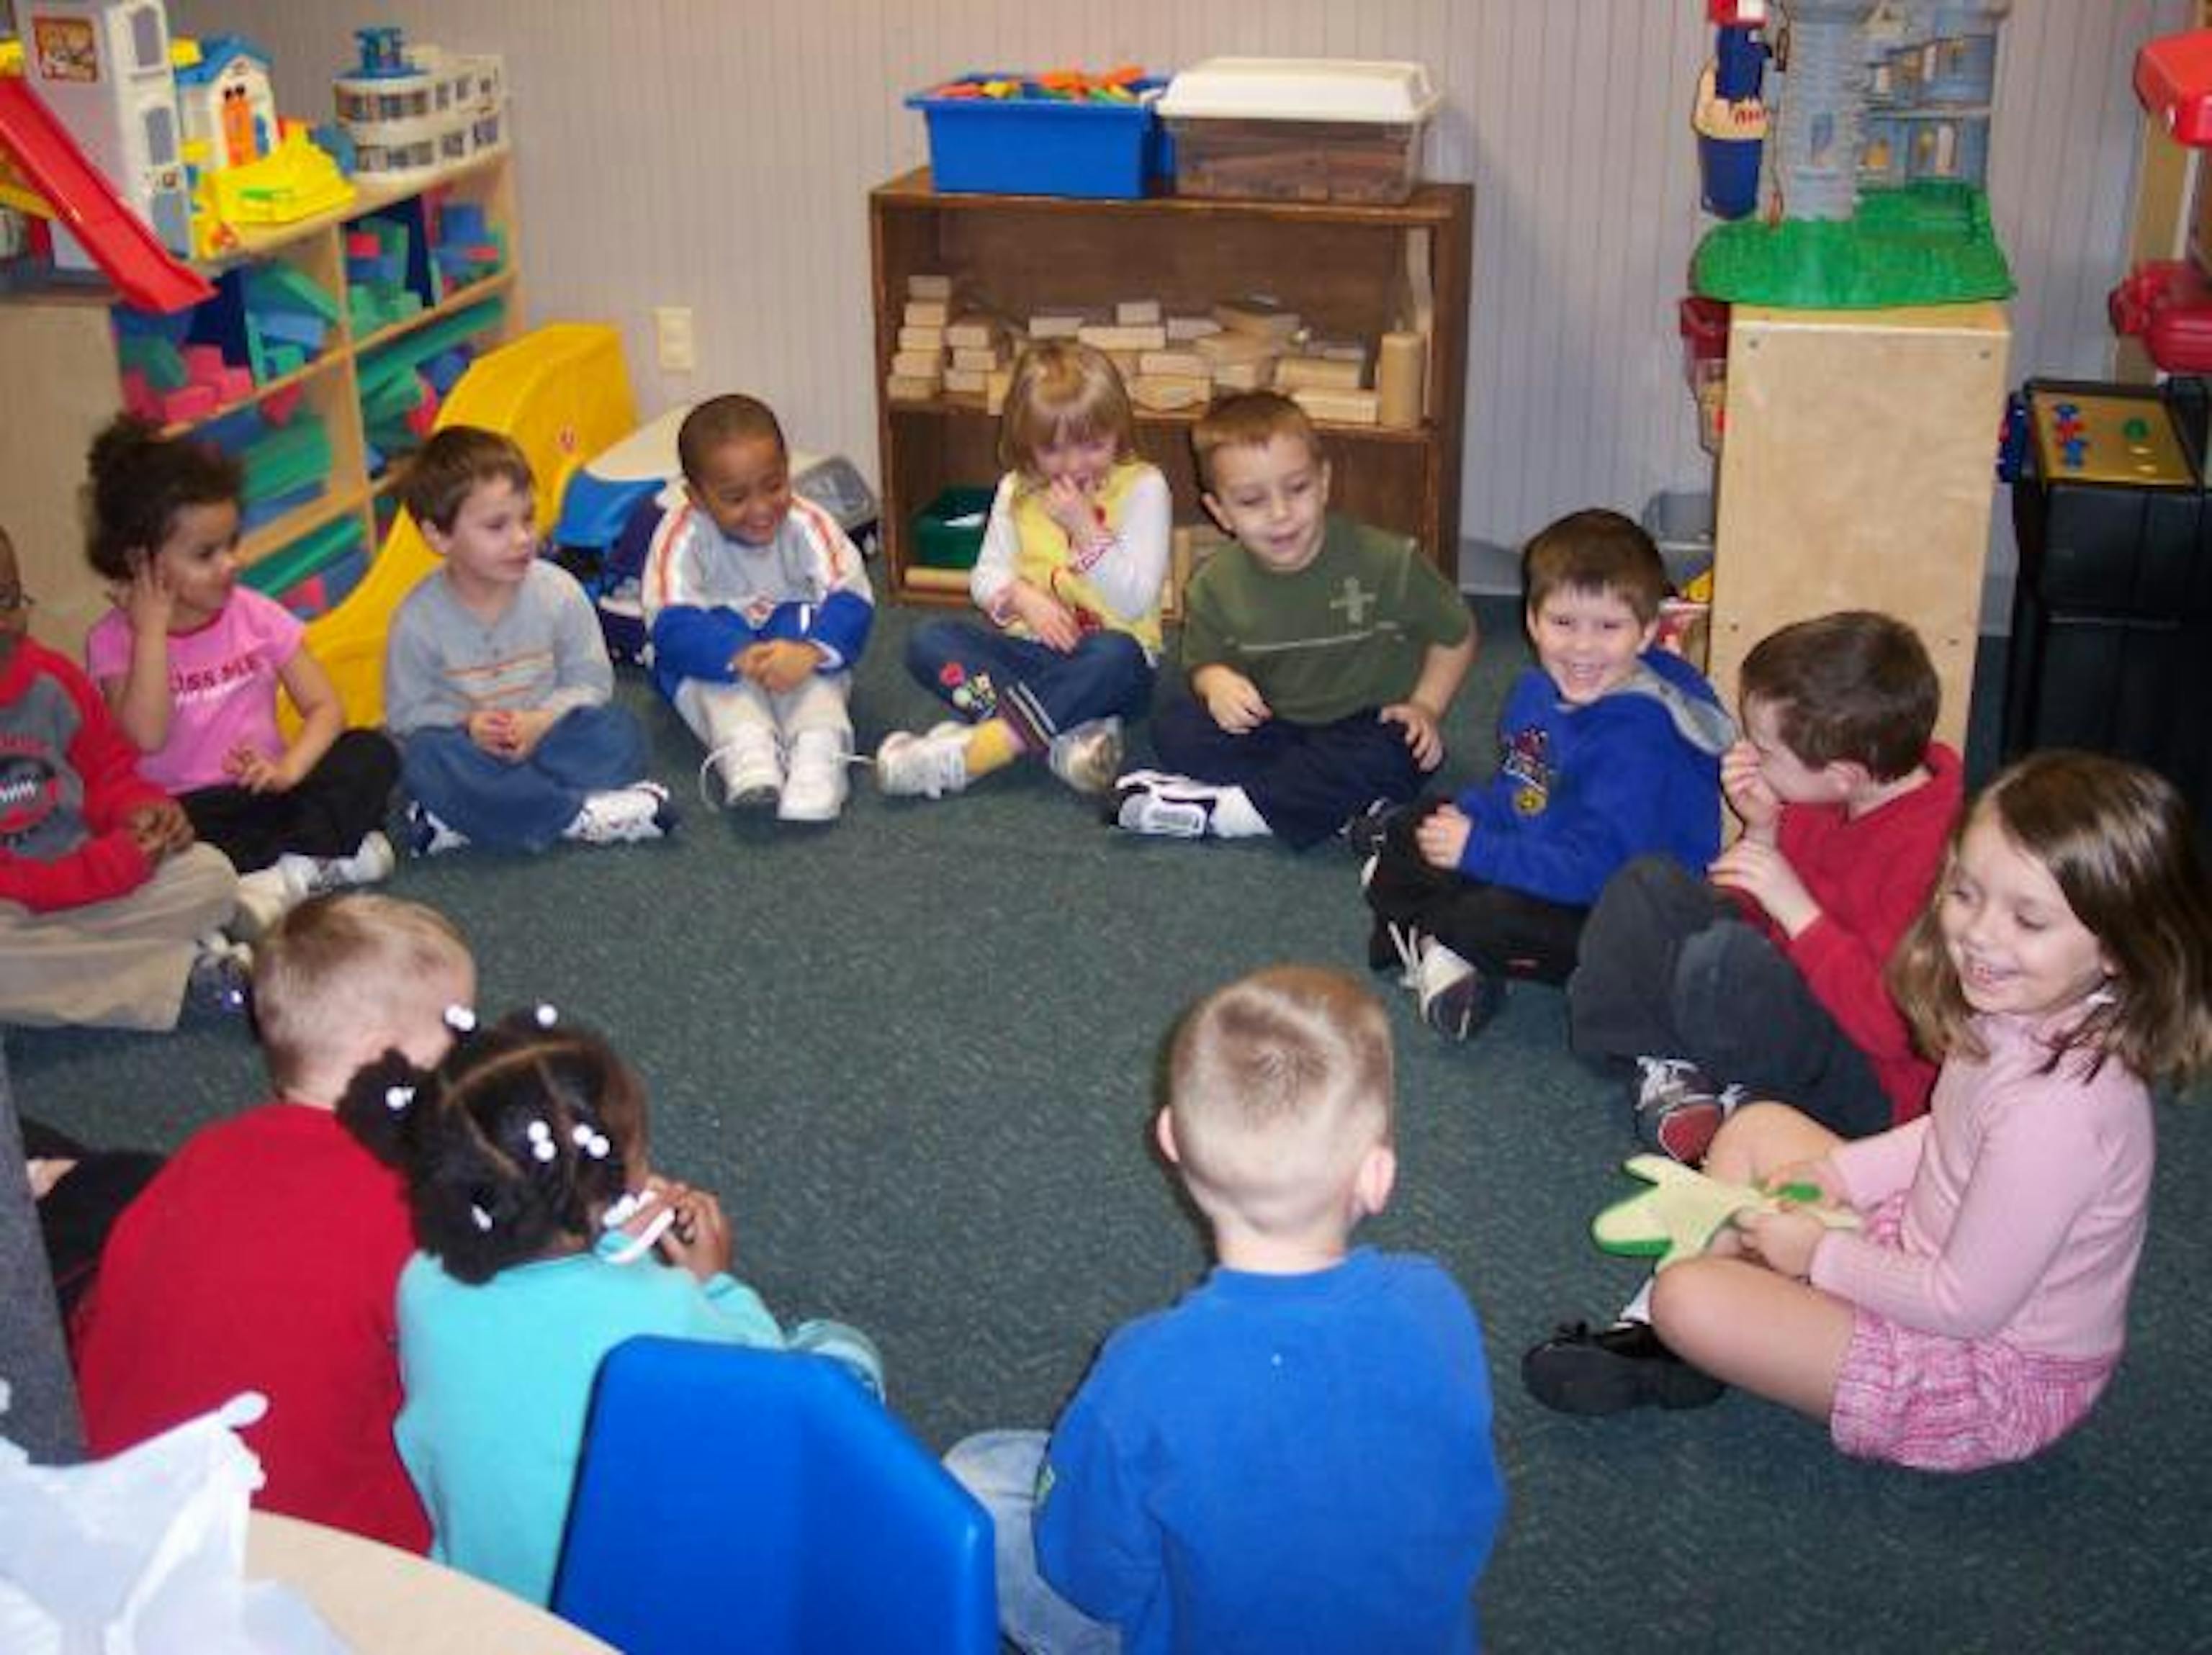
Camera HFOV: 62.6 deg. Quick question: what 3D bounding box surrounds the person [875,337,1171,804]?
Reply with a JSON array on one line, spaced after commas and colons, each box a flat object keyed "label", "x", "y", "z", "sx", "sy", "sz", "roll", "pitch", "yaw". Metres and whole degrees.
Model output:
[{"label": "person", "x": -0.157, "y": -0.564, "z": 3.745, "sx": 0.525, "sy": 0.838, "sz": 0.755, "roll": 5, "pitch": 23, "yaw": 13}]

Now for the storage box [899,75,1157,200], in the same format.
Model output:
[{"label": "storage box", "x": -0.145, "y": -1.535, "z": 4.147, "sx": 0.439, "sy": 0.162, "sz": 0.317, "roll": 2, "pitch": 29, "yaw": 5}]

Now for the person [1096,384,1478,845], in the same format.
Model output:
[{"label": "person", "x": 0.322, "y": -0.401, "z": 3.461, "sx": 0.721, "sy": 0.824, "sz": 0.562, "roll": -20, "pitch": 20, "yaw": -36}]

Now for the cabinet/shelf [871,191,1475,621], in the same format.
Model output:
[{"label": "cabinet/shelf", "x": 0.178, "y": -0.961, "z": 4.078, "sx": 0.986, "sy": 0.757, "sz": 0.339, "roll": 4, "pitch": 31, "yaw": 8}]

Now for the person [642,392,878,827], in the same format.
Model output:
[{"label": "person", "x": -0.691, "y": -0.468, "z": 3.708, "sx": 0.432, "sy": 0.657, "sz": 0.869, "roll": -7, "pitch": 32, "yaw": -16}]

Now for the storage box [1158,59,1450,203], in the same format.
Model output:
[{"label": "storage box", "x": 0.406, "y": -1.522, "z": 4.058, "sx": 0.479, "sy": 0.222, "sz": 0.351, "roll": 5, "pitch": 27, "yaw": 13}]

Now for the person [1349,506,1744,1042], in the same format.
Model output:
[{"label": "person", "x": 0.684, "y": -0.119, "z": 3.047, "sx": 0.596, "sy": 0.768, "sz": 0.528, "roll": -8, "pitch": 21, "yaw": -38}]

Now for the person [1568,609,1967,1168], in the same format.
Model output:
[{"label": "person", "x": 1.011, "y": 0.102, "z": 2.690, "sx": 0.509, "sy": 0.750, "sz": 0.458, "roll": -7, "pitch": 20, "yaw": -21}]

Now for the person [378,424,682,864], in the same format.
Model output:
[{"label": "person", "x": -1.160, "y": -0.350, "z": 3.446, "sx": 0.515, "sy": 0.724, "sz": 0.607, "roll": -11, "pitch": 22, "yaw": -42}]
